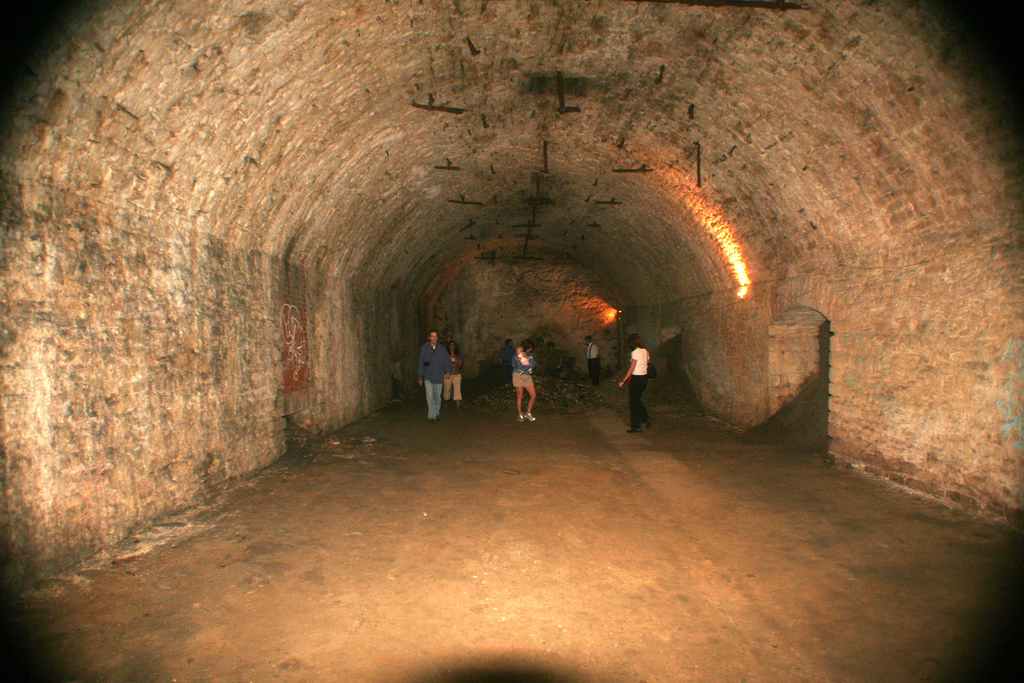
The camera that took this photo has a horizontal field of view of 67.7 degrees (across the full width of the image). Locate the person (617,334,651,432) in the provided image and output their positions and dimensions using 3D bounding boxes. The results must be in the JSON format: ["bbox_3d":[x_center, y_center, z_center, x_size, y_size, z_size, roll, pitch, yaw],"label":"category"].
[{"bbox_3d":[2.306,0.810,14.193,0.508,2.018,1.133,1,15,9],"label":"person"}]

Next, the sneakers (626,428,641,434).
[{"bbox_3d":[2.261,1.688,14.290,0.264,0.167,0.092,0,5,4],"label":"sneakers"}]

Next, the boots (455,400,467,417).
[{"bbox_3d":[-1.214,1.575,17.605,0.266,0.457,0.263,-4,-9,26],"label":"boots"}]
